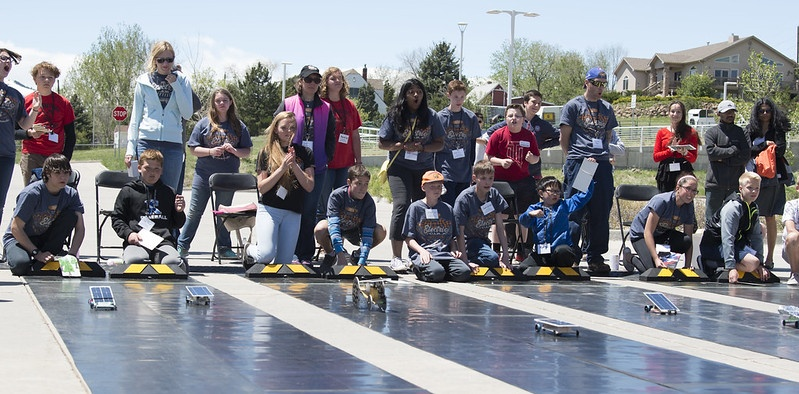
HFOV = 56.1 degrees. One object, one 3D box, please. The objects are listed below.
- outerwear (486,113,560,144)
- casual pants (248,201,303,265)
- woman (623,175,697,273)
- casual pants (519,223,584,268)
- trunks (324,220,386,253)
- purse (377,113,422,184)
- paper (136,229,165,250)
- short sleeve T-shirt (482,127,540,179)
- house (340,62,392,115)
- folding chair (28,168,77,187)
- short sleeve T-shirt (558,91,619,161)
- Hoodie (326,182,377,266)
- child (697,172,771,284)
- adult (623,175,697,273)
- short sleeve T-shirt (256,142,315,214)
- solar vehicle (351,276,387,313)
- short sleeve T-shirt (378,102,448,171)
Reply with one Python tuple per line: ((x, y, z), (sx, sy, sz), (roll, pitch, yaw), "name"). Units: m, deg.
((2.520, -1.234, 14.746), (1.641, 0.712, 0.437), (2, -3, -10), "outerwear")
((-2.150, 0.592, 12.724), (0.769, 1.095, 0.736), (9, -13, -43), "casual pants")
((4.628, 0.467, 13.118), (1.154, 1.710, 0.689), (0, 2, 4), "woman")
((2.675, 0.700, 13.138), (0.839, 0.985, 0.919), (-12, 2, -30), "casual pants")
((-0.587, 0.618, 13.320), (0.662, 0.199, 0.665), (-24, -11, 33), "trunks")
((-0.067, -0.823, 13.150), (0.781, 1.143, 0.376), (1, 2, 28), "purse")
((-3.948, 0.651, 11.850), (0.364, 0.302, 0.178), (1, 2, 19), "paper")
((2.108, -0.816, 14.094), (1.239, 0.965, 0.650), (0, 19, -16), "short sleeve T-shirt")
((-5.131, -15.540, 109.141), (5.123, 6.832, 8.458), (7, 7, 15), "house")
((-5.539, -0.315, 12.232), (0.605, 0.320, 0.977), (1, 2, 33), "folding chair")
((3.380, -1.226, 13.474), (1.361, 1.151, 0.677), (-2, 14, -28), "short sleeve T-shirt")
((-0.805, 0.426, 12.626), (1.127, 1.181, 1.296), (3, 3, -14), "Hoodie")
((5.831, 0.500, 12.978), (0.947, 1.847, 0.958), (0, 2, -10), "child")
((4.629, 0.467, 13.120), (1.156, 1.710, 0.686), (0, 2, 4), "adult")
((-1.883, -0.308, 12.493), (1.253, 1.211, 0.738), (9, -2, -19), "short sleeve T-shirt")
((-0.397, 1.341, 10.553), (0.383, 0.341, 0.511), (2, 1, -28), "solar vehicle")
((0.202, -0.981, 13.283), (1.339, 1.034, 0.634), (1, 20, -17), "short sleeve T-shirt")
